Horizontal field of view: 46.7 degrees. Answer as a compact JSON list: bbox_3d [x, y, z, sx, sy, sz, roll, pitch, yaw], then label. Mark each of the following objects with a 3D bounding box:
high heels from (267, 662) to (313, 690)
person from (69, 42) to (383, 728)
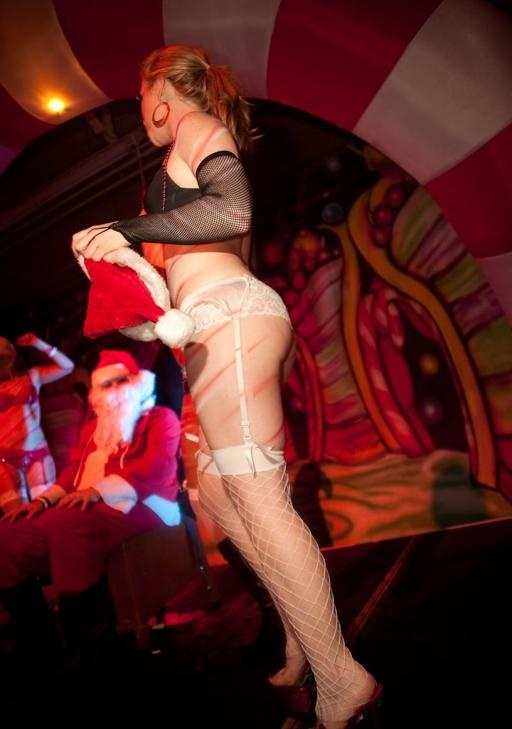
[{"bbox_3d":[0.085,0.721,1.399,0.107,0.087,0.062,0,-19,6],"label":"high heels"},{"bbox_3d":[-0.122,0.009,1.349,0.484,1.529,0.689,-9,13,-7],"label":"person"}]
